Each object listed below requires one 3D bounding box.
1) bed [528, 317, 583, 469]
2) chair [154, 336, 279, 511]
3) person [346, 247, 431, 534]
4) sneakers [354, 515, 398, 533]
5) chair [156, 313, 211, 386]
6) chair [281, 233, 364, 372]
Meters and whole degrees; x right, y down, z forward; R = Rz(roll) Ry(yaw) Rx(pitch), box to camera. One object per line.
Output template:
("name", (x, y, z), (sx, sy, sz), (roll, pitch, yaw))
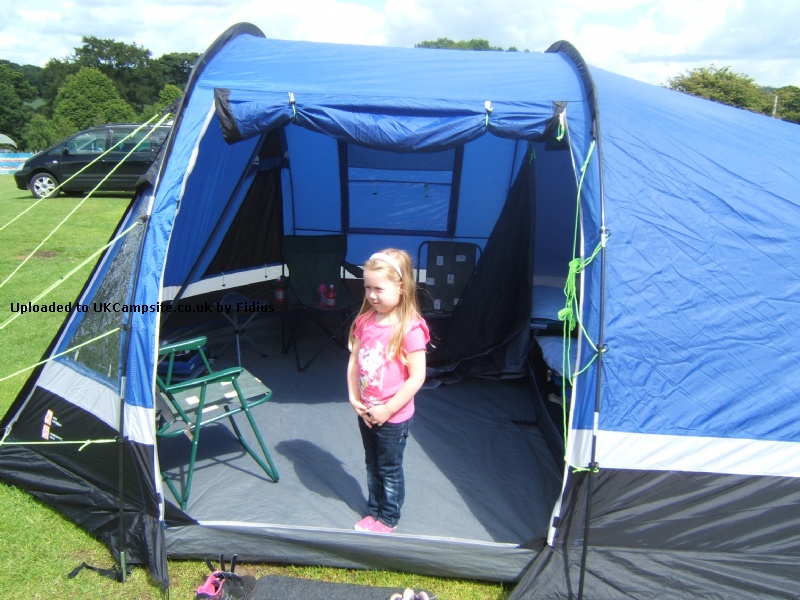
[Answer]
("bed", (0.992, 0.627, 4.677), (0.293, 0.242, 1.005), (3, 42, -1))
("chair", (-1.047, 0.545, 4.550), (0.846, 1.005, 0.893), (-9, 26, -22))
("person", (-0.089, 0.496, 3.894), (0.449, 1.509, 0.452), (7, 19, 16))
("sneakers", (-0.129, 1.229, 3.950), (0.157, 0.092, 0.061), (22, 61, 6))
("chair", (-1.373, 0.368, 4.623), (0.331, 0.184, 0.499), (-8, 34, -8))
("chair", (-0.621, 0.018, 6.012), (0.570, 1.081, 0.685), (-2, 11, -18))
